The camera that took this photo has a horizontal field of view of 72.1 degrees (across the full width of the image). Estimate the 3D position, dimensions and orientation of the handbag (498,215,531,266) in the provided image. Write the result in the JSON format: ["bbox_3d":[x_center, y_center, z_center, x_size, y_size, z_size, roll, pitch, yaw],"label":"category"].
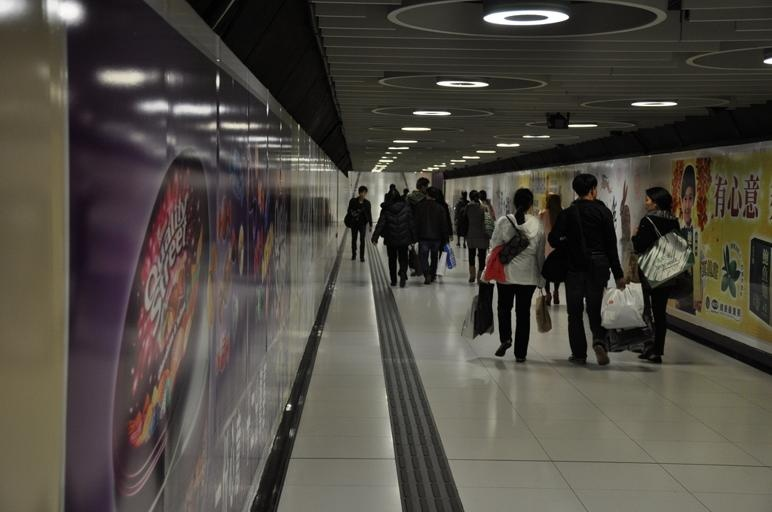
[{"bbox_3d":[1.620,-0.152,6.726,0.557,0.437,0.184,-46,-24,28],"label":"handbag"}]

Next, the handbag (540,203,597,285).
[{"bbox_3d":[2.256,-0.134,6.603,0.239,0.950,0.525,2,5,-39],"label":"handbag"}]

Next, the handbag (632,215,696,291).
[{"bbox_3d":[3.619,-0.037,6.846,0.643,0.940,0.310,1,5,-6],"label":"handbag"}]

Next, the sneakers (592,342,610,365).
[{"bbox_3d":[2.761,1.253,6.816,0.145,0.354,0.146,-17,3,14],"label":"sneakers"}]

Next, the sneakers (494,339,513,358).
[{"bbox_3d":[1.588,1.257,7.069,0.153,0.121,0.310,-21,14,26],"label":"sneakers"}]

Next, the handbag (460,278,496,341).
[{"bbox_3d":[1.387,0.837,8.018,0.377,0.967,0.874,7,6,7],"label":"handbag"}]
